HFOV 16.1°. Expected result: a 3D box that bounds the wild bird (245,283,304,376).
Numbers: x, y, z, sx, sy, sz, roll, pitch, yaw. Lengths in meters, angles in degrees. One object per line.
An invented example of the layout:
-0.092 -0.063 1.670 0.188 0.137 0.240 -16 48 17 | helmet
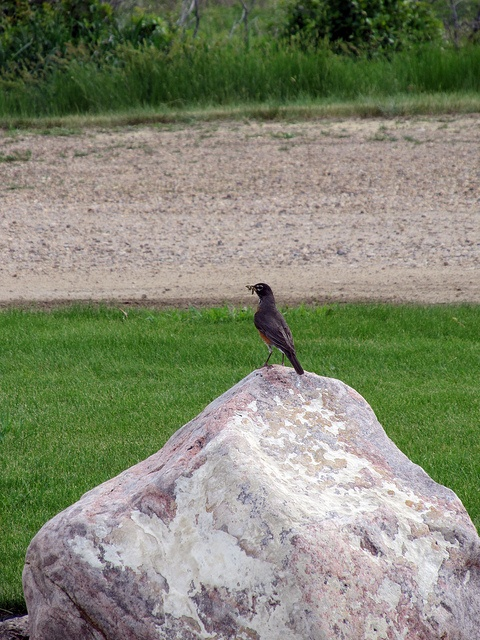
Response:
0.423 0.090 22.182 0.836 1.140 0.294 4 6 40 | wild bird
